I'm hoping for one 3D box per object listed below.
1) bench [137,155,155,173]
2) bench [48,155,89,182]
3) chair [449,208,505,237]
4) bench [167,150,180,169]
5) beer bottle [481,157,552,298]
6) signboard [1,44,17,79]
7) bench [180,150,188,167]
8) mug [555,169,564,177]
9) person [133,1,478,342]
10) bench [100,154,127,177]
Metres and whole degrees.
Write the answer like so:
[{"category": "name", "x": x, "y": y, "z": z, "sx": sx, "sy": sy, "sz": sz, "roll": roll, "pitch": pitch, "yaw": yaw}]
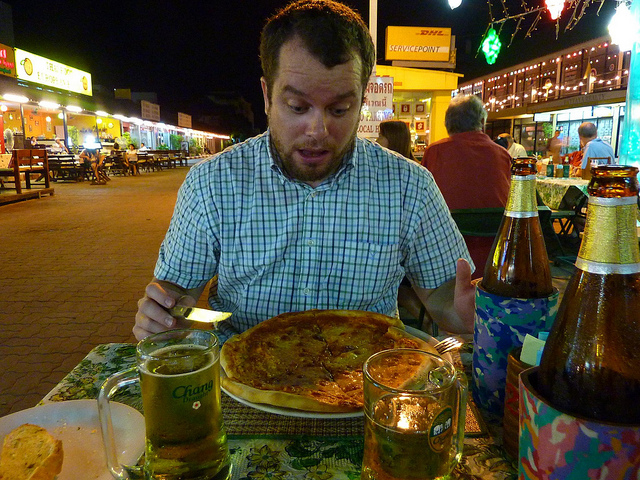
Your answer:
[{"category": "bench", "x": -11.234, "y": -4.917, "z": 26.964, "sx": 0.936, "sy": 1.334, "sz": 1.030, "roll": 5, "pitch": 9, "yaw": 31}, {"category": "bench", "x": -11.858, "y": -3.499, "z": 19.318, "sx": 1.766, "sy": 0.860, "sz": 0.634, "roll": 2, "pitch": 16, "yaw": -1}, {"category": "chair", "x": 1.312, "y": -0.152, "z": 3.430, "sx": 0.397, "sy": 0.268, "sz": 0.144, "roll": 1, "pitch": 15, "yaw": 11}, {"category": "bench", "x": -11.667, "y": -6.473, "z": 33.419, "sx": 0.804, "sy": 1.383, "sz": 5.241, "roll": -4, "pitch": 14, "yaw": -18}, {"category": "beer bottle", "x": 0.465, "y": -0.007, "z": 1.007, "sx": 0.137, "sy": 0.380, "sz": 0.135, "roll": 4, "pitch": 11, "yaw": -1}, {"category": "signboard", "x": -15.617, "y": -8.939, "z": 20.852, "sx": 0.431, "sy": 1.360, "sz": 1.414, "roll": -4, "pitch": 14, "yaw": -21}, {"category": "bench", "x": -12.466, "y": -7.491, "z": 37.981, "sx": 0.569, "sy": 1.247, "sz": 4.946, "roll": -4, "pitch": 14, "yaw": -19}, {"category": "mug", "x": 4.200, "y": -1.158, "z": 7.299, "sx": 0.120, "sy": 0.132, "sz": 0.122, "roll": 0, "pitch": 15, "yaw": 9}, {"category": "person", "x": -0.033, "y": 0.073, "z": 2.112, "sx": 0.970, "sy": 1.898, "sz": 1.109, "roll": 5, "pitch": 11, "yaw": -5}, {"category": "bench", "x": -11.546, "y": -4.150, "z": 23.438, "sx": 1.081, "sy": 1.272, "sz": 4.183, "roll": -5, "pitch": 15, "yaw": -25}]
